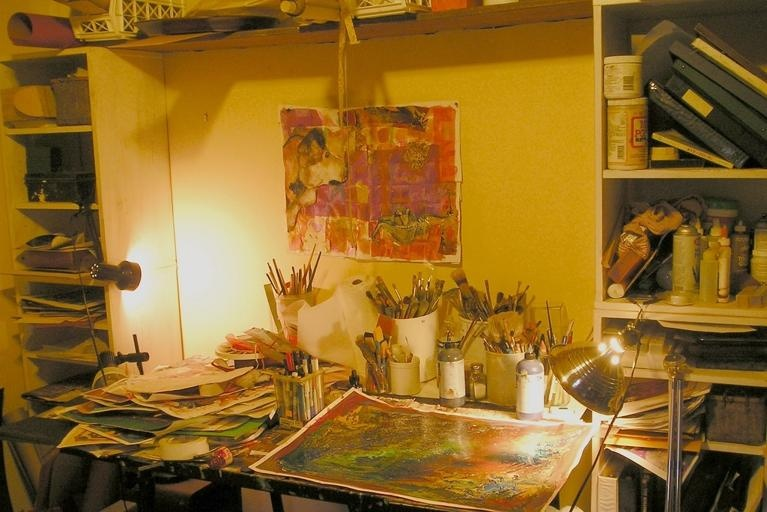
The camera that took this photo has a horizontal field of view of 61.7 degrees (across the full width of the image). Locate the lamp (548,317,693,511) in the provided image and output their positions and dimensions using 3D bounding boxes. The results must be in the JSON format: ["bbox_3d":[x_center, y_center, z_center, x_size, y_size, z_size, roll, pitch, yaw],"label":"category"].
[{"bbox_3d":[0.716,0.533,2.156,0.285,0.665,0.435,0,-1,21],"label":"lamp"}]

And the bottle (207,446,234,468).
[{"bbox_3d":[-0.556,0.688,2.205,0.085,0.057,0.097,1,-1,-15],"label":"bottle"}]

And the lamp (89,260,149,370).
[{"bbox_3d":[-1.206,0.275,2.927,0.235,0.499,0.274,1,-1,-23],"label":"lamp"}]

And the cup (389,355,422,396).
[{"bbox_3d":[0.087,0.489,2.626,0.158,0.134,0.154,-1,2,0],"label":"cup"}]

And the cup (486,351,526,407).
[{"bbox_3d":[0.449,0.475,2.486,0.206,0.193,0.196,0,2,0],"label":"cup"}]

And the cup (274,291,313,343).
[{"bbox_3d":[-0.393,0.277,2.826,0.161,0.225,0.208,1,-1,-7],"label":"cup"}]

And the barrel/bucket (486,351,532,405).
[{"bbox_3d":[0.444,0.464,2.473,0.209,0.190,0.191,0,2,0],"label":"barrel/bucket"}]
